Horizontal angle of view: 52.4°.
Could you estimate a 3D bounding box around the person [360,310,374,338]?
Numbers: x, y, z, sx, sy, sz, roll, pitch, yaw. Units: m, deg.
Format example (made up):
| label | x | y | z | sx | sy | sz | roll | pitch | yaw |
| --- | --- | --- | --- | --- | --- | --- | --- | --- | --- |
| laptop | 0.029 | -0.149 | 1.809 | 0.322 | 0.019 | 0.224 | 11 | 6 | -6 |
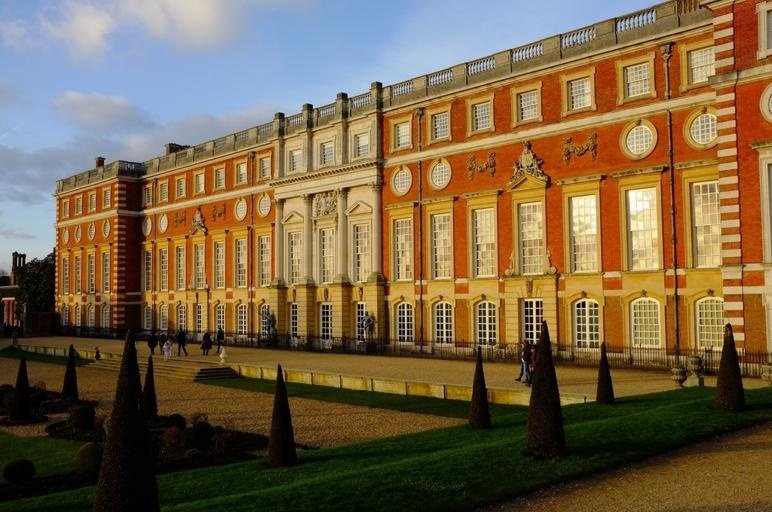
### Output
| label | x | y | z | sx | sy | sz | roll | pitch | yaw |
| --- | --- | --- | --- | --- | --- | --- | --- | --- | --- |
| person | -1.189 | 4.529 | 51.265 | 0.457 | 1.848 | 1.485 | 2 | -10 | -23 |
